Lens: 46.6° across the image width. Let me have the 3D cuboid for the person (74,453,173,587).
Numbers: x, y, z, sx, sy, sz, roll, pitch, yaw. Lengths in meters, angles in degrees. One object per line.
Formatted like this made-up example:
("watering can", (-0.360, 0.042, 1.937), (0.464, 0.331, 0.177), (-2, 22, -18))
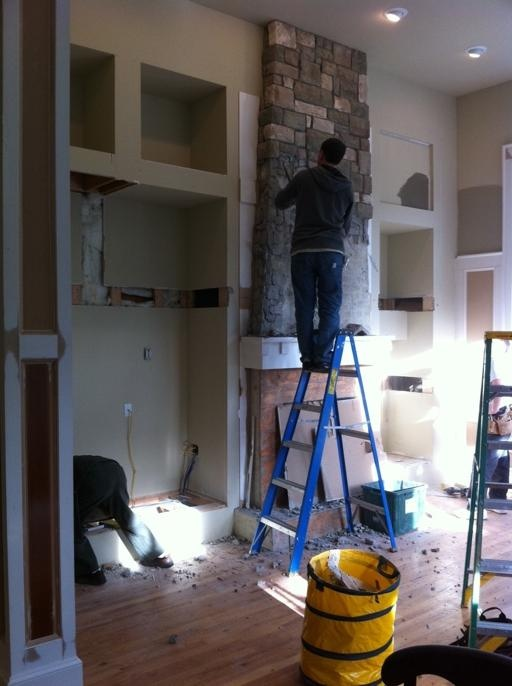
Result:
("person", (-0.789, 0.952, 3.502), (0.586, 0.879, 0.418), (-5, 2, -31))

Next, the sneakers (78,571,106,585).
("sneakers", (-0.892, 1.273, 3.208), (0.156, 0.082, 0.045), (0, 1, -4))

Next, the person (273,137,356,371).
("person", (0.352, -0.533, 3.678), (0.435, 1.401, 0.318), (1, 1, 30))
